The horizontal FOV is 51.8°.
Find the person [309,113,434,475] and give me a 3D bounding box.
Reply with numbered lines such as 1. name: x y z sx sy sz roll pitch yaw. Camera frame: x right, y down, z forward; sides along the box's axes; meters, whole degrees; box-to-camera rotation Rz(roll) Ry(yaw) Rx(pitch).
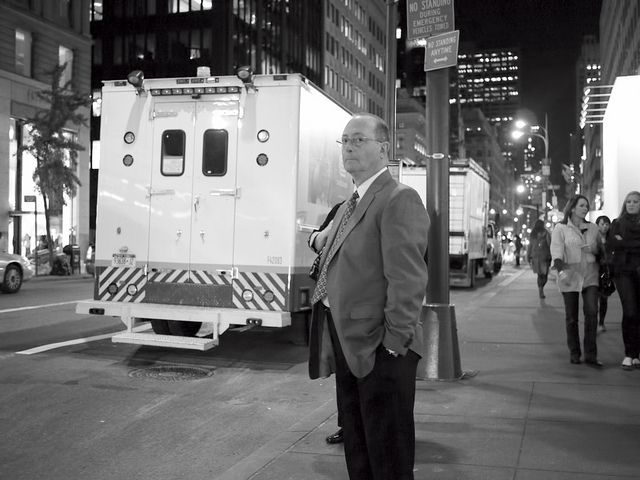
1. person: 0.346 0.376 4.618 0.821 2.564 0.535 1 2 20

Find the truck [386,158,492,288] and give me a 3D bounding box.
1. truck: 4.093 -0.687 25.021 2.952 5.254 8.704 -2 -3 18

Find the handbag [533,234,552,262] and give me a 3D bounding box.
1. handbag: 6.190 0.245 18.331 0.477 0.773 0.279 13 -9 -40

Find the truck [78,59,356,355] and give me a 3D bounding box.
1. truck: -1.194 -0.450 12.228 2.466 3.708 5.856 0 0 14

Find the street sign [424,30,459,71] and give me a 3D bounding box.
1. street sign: 1.696 -2.632 9.232 0.487 0.627 0.043 -6 -26 28
